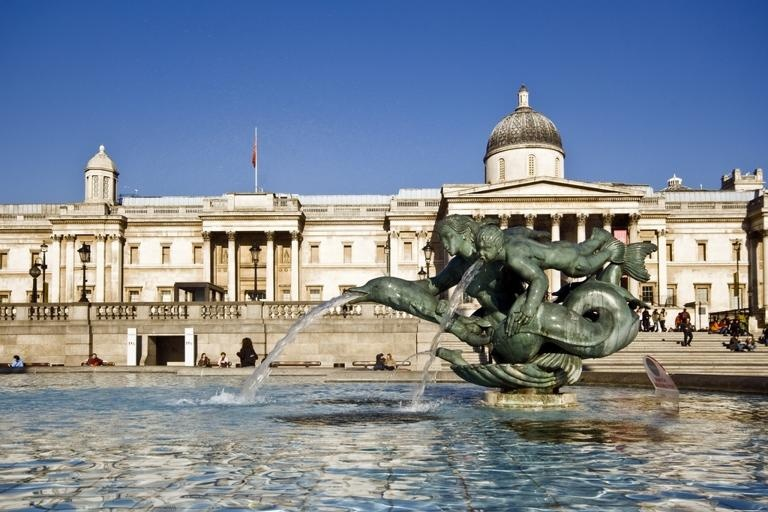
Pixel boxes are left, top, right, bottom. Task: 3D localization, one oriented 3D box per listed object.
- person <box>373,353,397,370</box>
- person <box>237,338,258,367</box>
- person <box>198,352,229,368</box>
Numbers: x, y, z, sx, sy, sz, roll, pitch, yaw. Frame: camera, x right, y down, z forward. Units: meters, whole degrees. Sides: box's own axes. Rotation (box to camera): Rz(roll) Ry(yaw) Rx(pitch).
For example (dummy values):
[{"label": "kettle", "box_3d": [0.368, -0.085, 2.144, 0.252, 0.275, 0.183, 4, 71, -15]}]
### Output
[{"label": "person", "box_3d": [0.067, 4.193, 47.565, 0.934, 0.477, 0.615, 3, -6, -5]}, {"label": "person", "box_3d": [-5.376, 3.858, 48.280, 0.646, 1.093, 0.913, 1, -5, -6]}, {"label": "person", "box_3d": [-6.844, 4.370, 49.464, 1.224, 0.423, 0.868, -1, -1, -9]}]
